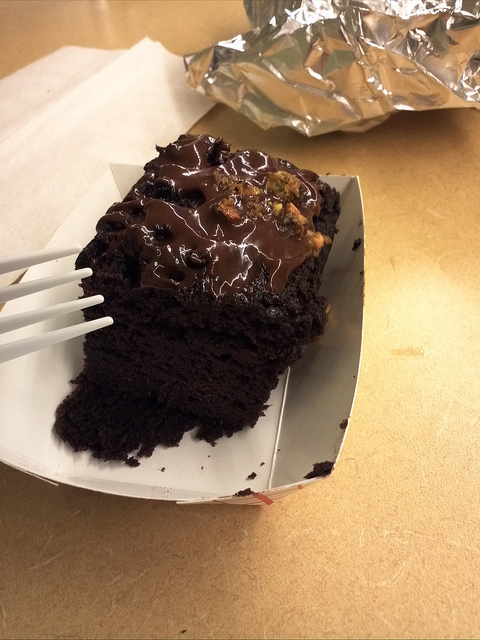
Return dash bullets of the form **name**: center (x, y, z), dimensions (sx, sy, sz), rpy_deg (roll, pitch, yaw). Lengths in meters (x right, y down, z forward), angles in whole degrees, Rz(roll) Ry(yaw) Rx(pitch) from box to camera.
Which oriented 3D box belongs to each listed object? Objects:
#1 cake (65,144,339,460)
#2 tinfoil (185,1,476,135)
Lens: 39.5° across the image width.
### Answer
- **cake**: center (-0.083, -0.028, 1.203), dimensions (0.498, 0.440, 0.433), rpy_deg (3, 42, 8)
- **tinfoil**: center (0.195, -0.584, 1.540), dimensions (0.693, 0.279, 0.182), rpy_deg (9, 44, 15)
